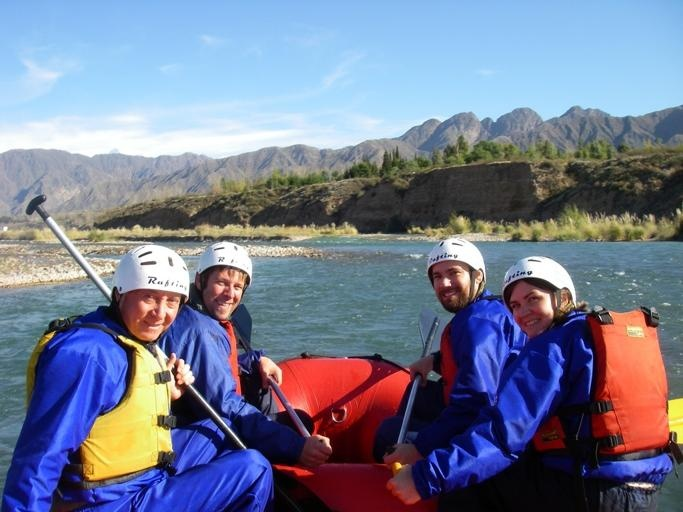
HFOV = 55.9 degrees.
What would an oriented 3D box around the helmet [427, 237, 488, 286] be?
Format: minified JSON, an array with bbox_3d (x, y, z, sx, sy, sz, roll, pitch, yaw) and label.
[{"bbox_3d":[0.754,0.001,4.437,0.263,0.282,0.362,-6,12,29],"label":"helmet"}]

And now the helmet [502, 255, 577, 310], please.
[{"bbox_3d":[1.098,0.124,3.778,0.252,0.254,0.325,-20,-6,36],"label":"helmet"}]
